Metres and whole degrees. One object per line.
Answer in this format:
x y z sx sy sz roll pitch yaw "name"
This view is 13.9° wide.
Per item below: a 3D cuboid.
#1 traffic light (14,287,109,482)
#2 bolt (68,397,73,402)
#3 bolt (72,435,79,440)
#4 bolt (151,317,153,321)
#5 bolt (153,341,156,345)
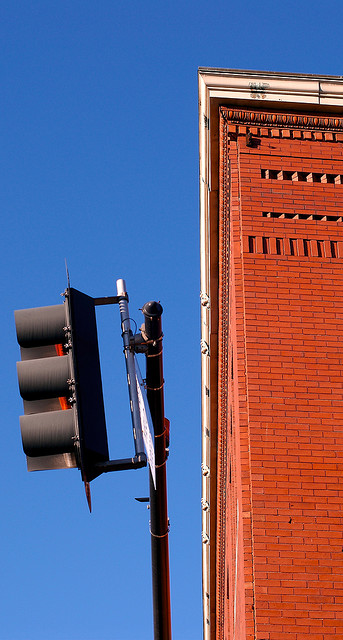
-0.827 0.534 10.312 0.589 2.068 0.548 -2 -19 -12 "traffic light"
-0.766 0.589 10.555 0.018 0.038 0.047 -1 -9 -30 "bolt"
-0.718 0.863 10.424 0.051 0.034 0.009 -9 -7 15 "bolt"
-0.173 -0.028 11.636 0.016 0.040 0.018 2 -13 -11 "bolt"
-0.148 0.177 11.733 0.023 0.046 0.022 1 0 -4 "bolt"
